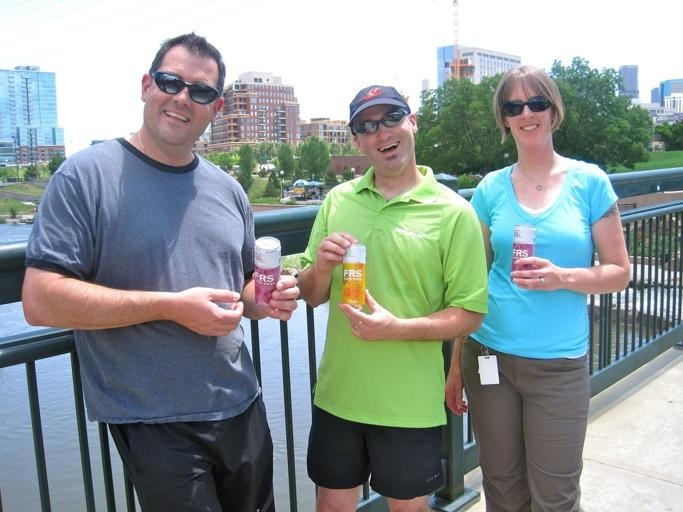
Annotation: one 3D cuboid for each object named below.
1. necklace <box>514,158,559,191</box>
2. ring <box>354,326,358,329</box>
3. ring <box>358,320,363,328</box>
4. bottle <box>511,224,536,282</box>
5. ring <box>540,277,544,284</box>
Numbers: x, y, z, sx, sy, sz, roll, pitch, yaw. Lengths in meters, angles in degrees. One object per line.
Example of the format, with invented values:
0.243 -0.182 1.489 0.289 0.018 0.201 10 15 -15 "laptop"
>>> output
1.024 -0.413 2.919 0.222 0.168 0.067 -3 -6 28 "necklace"
0.065 0.312 2.424 0.003 0.012 0.012 -6 4 -41 "ring"
0.083 0.293 2.400 0.024 0.024 0.008 5 9 34 "ring"
0.927 -0.035 2.766 0.175 0.230 0.105 -2 2 -28 "bottle"
0.979 0.120 2.738 0.010 0.030 0.022 1 -6 0 "ring"
